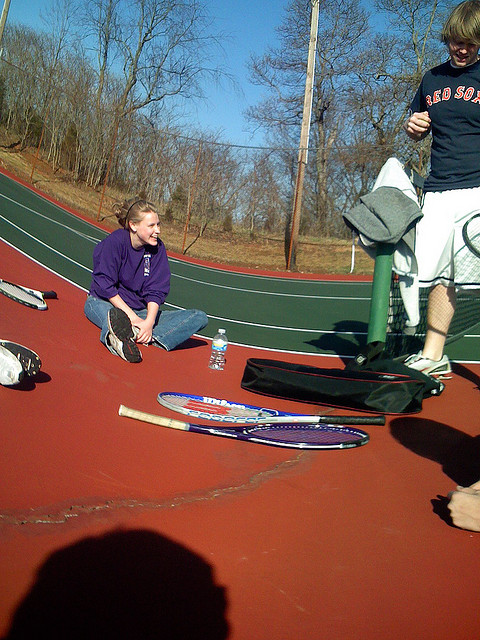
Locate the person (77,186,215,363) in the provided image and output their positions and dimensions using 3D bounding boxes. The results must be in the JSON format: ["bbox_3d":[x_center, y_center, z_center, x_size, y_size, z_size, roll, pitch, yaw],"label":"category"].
[{"bbox_3d":[-0.633,-0.318,3.701,0.908,1.025,0.978,5,22,-15],"label":"person"}]

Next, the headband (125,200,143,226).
[{"bbox_3d":[-0.763,-0.789,3.675,0.049,0.171,0.187,17,38,36],"label":"headband"}]

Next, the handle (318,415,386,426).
[{"bbox_3d":[0.559,0.504,2.511,0.303,0.037,0.039,3,-16,-6],"label":"handle"}]
